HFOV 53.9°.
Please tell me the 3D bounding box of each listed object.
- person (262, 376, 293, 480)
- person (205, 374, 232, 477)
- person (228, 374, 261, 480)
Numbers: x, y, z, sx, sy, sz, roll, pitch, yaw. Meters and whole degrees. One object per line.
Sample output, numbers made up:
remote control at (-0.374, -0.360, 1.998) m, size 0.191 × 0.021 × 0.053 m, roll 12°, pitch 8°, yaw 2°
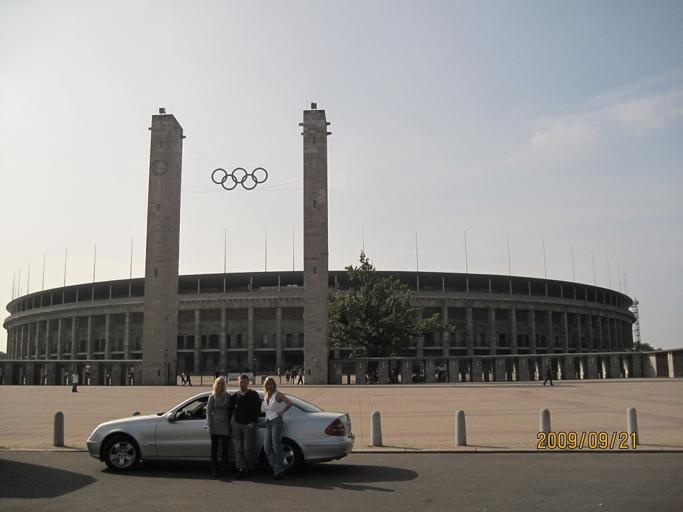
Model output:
person at (-1.444, 3.882, 15.291) m, size 0.598 × 2.206 × 0.458 m, roll 0°, pitch -11°, yaw -6°
person at (-2.868, 3.944, 15.634) m, size 0.569 × 2.229 × 0.878 m, roll 1°, pitch -11°, yaw -11°
person at (-2.209, 3.896, 15.517) m, size 0.591 × 2.234 × 0.511 m, roll 9°, pitch -15°, yaw -44°
